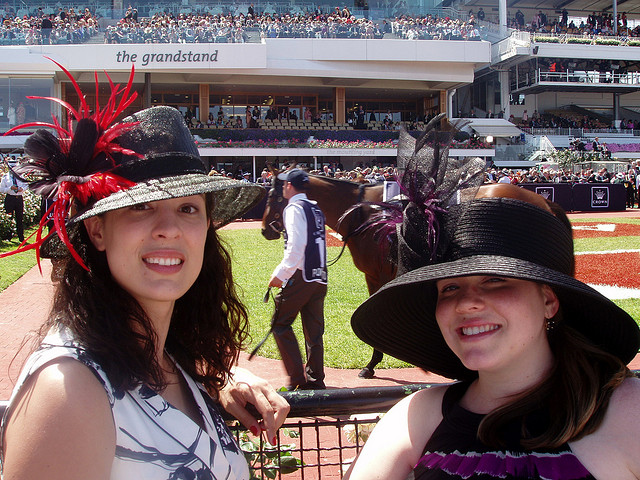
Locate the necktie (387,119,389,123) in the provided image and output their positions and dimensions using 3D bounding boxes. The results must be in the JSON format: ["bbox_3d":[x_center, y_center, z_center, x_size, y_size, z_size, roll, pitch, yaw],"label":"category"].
[{"bbox_3d":[3.199,-5.725,40.393,0.046,0.230,0.121,-6,-21,9],"label":"necktie"}]

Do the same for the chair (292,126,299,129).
[{"bbox_3d":[-1.172,-5.206,38.756,0.203,0.125,0.148,3,1,4],"label":"chair"}]

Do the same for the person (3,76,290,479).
[{"bbox_3d":[-0.620,0.196,3.023,0.901,1.534,0.947,-4,11,-10],"label":"person"}]

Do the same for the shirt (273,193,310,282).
[{"bbox_3d":[-0.200,0.024,5.810,0.207,0.498,0.288,-1,11,8],"label":"shirt"}]
